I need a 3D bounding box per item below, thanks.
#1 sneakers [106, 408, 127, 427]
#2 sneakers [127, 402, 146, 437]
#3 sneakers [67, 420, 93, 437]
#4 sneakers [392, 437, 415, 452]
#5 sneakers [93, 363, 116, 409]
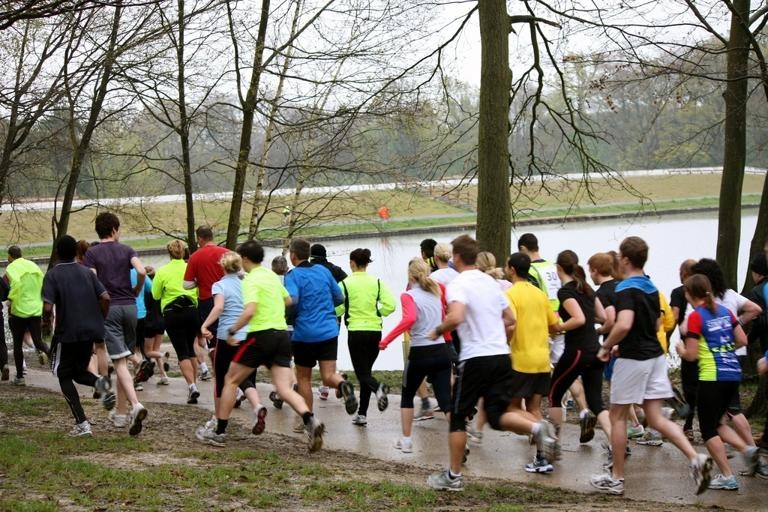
[{"bbox_3d":[-4.355,2.630,17.146,0.165,0.165,0.360,-1,12,-41],"label":"sneakers"},{"bbox_3d":[-3.896,2.524,16.546,0.229,0.600,0.273,3,23,-35],"label":"sneakers"},{"bbox_3d":[-4.747,2.713,16.563,0.429,0.272,0.166,2,-5,1],"label":"sneakers"},{"bbox_3d":[0.305,3.000,16.814,0.149,0.178,0.359,-2,6,-27],"label":"sneakers"},{"bbox_3d":[-4.404,2.072,16.693,0.289,0.668,0.225,-10,16,45],"label":"sneakers"}]
